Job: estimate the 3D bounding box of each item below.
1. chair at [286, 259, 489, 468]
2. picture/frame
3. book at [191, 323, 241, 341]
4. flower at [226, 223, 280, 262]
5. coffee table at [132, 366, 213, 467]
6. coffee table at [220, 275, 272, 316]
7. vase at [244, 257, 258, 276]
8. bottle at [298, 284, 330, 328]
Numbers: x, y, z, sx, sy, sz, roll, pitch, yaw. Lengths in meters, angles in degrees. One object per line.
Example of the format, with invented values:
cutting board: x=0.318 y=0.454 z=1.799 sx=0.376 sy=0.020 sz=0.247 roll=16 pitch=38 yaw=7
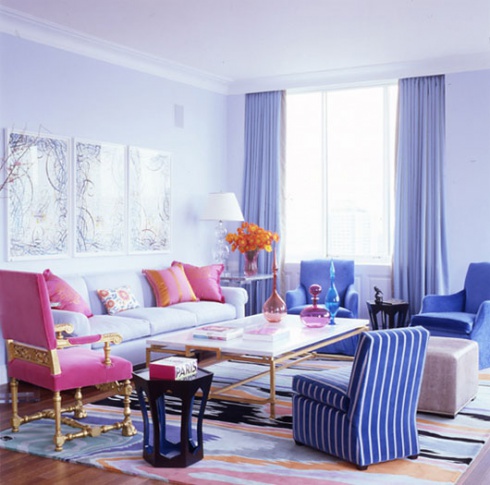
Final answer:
chair: x=0.720 y=0.653 z=2.543 sx=0.789 sy=0.846 sz=0.770 roll=1 pitch=-3 yaw=-32
picture/frame: x=-1.492 y=-0.457 z=4.796 sx=0.136 sy=1.269 sz=1.952 roll=-2 pitch=-3 yaw=35
book: x=-0.202 y=0.651 z=3.450 sx=0.331 sy=0.062 sz=0.351 roll=-2 pitch=-3 yaw=28
flower: x=0.123 y=-0.040 z=6.000 sx=0.462 sy=0.454 sz=0.492 roll=0 pitch=1 yaw=22
coffee table: x=-0.337 y=0.863 z=2.454 sx=0.352 sy=0.480 sz=0.429 roll=0 pitch=-4 yaw=-7
coffee table: x=0.038 y=0.729 z=6.203 sx=0.568 sy=0.600 sz=0.578 roll=1 pitch=1 yaw=43
vase: x=0.073 y=0.287 z=6.061 sx=0.184 sy=0.313 sz=0.196 roll=0 pitch=-4 yaw=1
bottle: x=0.568 y=0.532 z=3.960 sx=0.277 sy=0.420 sz=0.277 roll=1 pitch=-2 yaw=0
